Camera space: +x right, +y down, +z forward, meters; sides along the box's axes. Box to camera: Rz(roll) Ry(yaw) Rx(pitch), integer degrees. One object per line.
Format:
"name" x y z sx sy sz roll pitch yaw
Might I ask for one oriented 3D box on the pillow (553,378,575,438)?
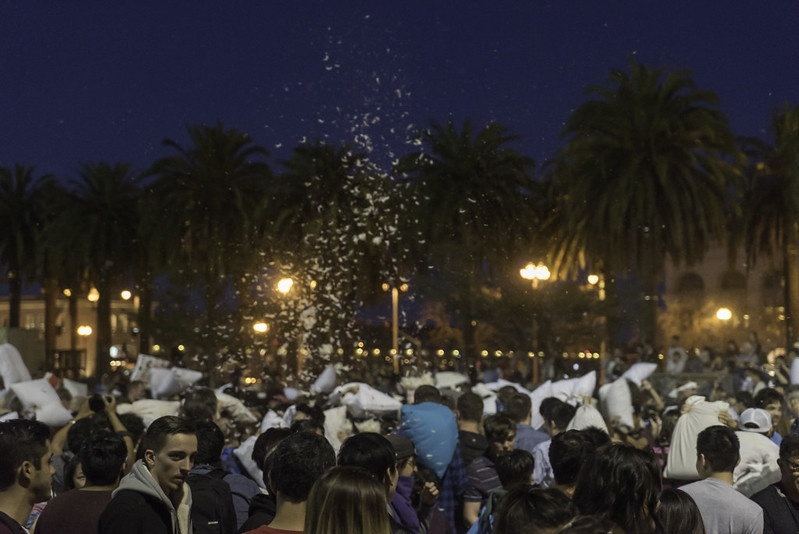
"pillow" 2.600 2.247 15.699 0.200 0.464 0.431 -1 14 18

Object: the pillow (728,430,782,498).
"pillow" 4.940 2.780 13.817 0.868 0.901 0.505 6 4 35

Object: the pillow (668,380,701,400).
"pillow" 5.321 2.359 18.716 0.613 0.150 0.599 -25 3 -29

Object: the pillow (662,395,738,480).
"pillow" 4.280 2.477 14.132 0.879 1.089 0.586 -8 -33 42
